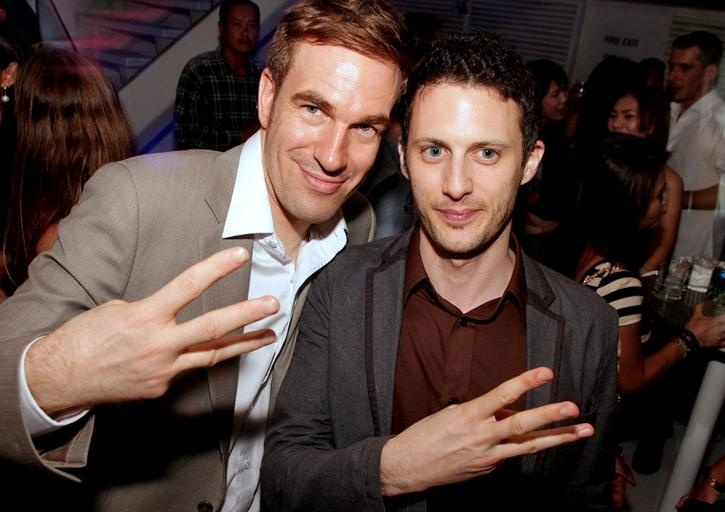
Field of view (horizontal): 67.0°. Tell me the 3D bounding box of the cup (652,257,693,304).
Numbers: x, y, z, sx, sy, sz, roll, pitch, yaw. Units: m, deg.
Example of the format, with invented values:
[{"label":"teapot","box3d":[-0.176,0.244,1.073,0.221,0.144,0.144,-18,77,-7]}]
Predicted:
[{"label":"cup","box3d":[2.338,0.176,4.122,0.210,0.403,0.125,22,7,32]}]
